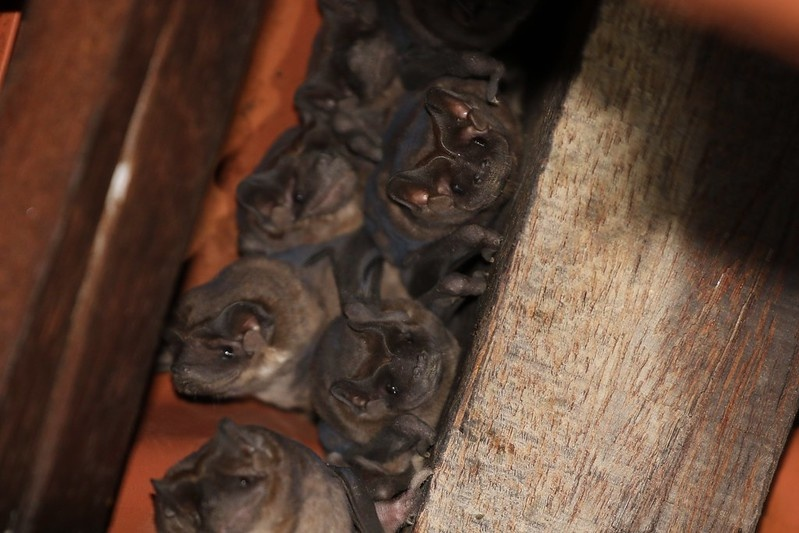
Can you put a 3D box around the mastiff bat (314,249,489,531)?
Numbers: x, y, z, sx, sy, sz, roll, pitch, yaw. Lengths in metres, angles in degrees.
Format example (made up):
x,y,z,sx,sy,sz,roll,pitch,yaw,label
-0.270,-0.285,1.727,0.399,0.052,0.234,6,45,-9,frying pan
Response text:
x,y,z,sx,sy,sz,roll,pitch,yaw,label
-0.056,0.452,4.224,0.370,1.291,0.696,9,-10,-41,mastiff bat

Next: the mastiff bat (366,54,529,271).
x,y,z,sx,sy,sz,roll,pitch,yaw,label
0.167,-0.429,4.285,0.625,0.830,0.299,1,-6,3,mastiff bat
